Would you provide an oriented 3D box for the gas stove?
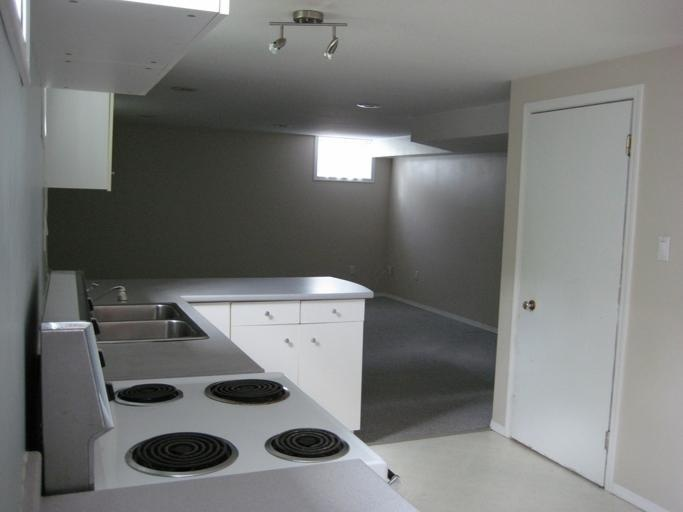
[{"bbox_3d":[-0.265,0.433,1.379,0.663,0.050,0.519,4,4,-12],"label":"gas stove"}]
